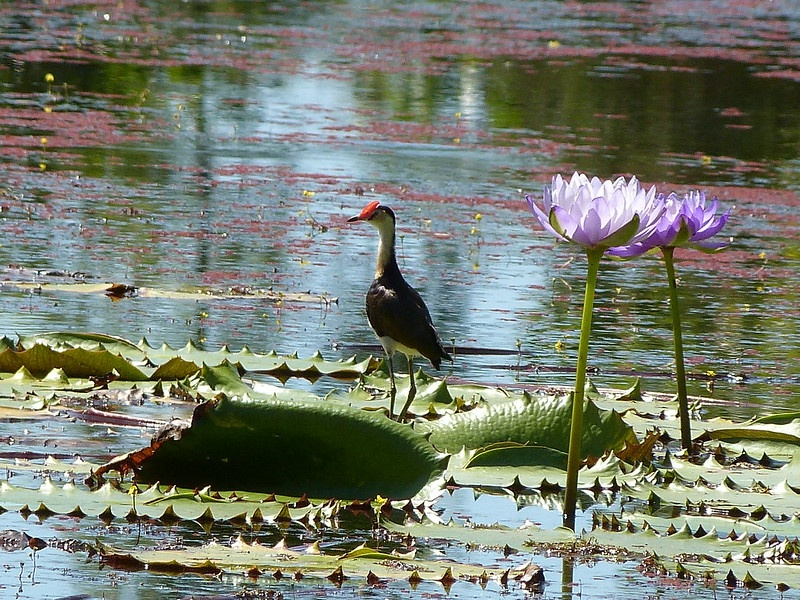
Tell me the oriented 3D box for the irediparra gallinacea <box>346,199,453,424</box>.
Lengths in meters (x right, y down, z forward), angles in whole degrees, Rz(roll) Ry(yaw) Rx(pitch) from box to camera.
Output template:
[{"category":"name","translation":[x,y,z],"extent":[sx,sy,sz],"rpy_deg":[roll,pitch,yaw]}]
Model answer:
[{"category":"irediparra gallinacea","translation":[-0.007,0.033,9.396],"extent":[0.768,1.162,0.791],"rpy_deg":[0,3,2]}]
